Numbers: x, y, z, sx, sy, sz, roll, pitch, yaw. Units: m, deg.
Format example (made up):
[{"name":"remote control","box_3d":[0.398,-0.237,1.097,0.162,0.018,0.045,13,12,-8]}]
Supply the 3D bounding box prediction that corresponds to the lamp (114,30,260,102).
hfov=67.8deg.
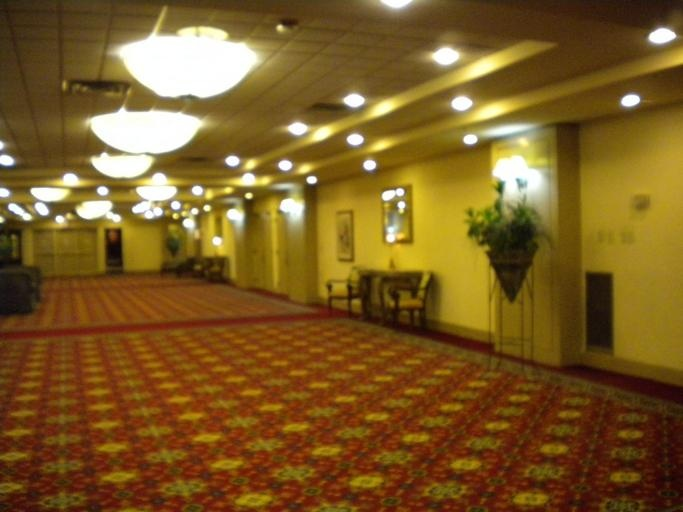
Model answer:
[{"name":"lamp","box_3d":[-1.270,-1.560,4.153,0.698,0.244,0.717,-3,9,-9]}]

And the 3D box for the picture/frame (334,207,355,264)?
[{"name":"picture/frame","box_3d":[0.115,-0.512,13.332,0.058,1.292,0.910,-2,2,-33]}]

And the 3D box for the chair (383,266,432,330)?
[{"name":"chair","box_3d":[1.354,0.901,10.170,1.073,1.182,1.059,1,-2,-21]}]

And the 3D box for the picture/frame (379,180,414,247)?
[{"name":"picture/frame","box_3d":[1.243,-0.903,11.250,0.080,1.253,1.098,-2,3,-28]}]

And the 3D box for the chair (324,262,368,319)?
[{"name":"chair","box_3d":[0.092,0.766,12.132,0.769,0.926,0.738,-10,11,-42]}]
